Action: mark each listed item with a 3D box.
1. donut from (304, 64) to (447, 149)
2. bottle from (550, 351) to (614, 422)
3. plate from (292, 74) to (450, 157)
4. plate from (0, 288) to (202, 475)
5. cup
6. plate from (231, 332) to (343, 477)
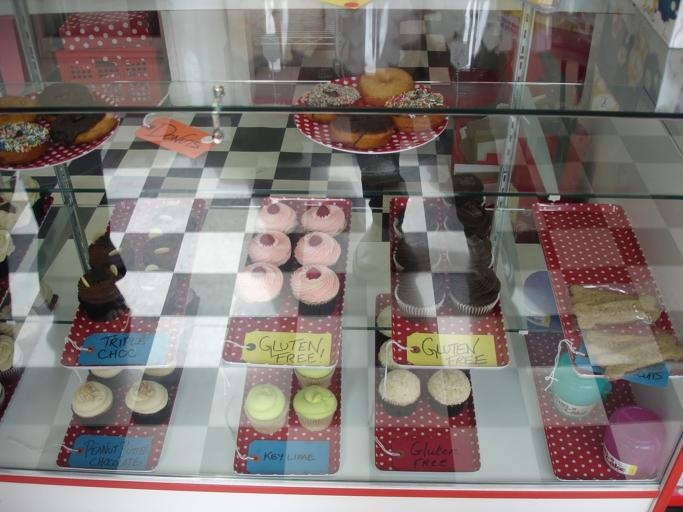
[{"bbox_3d":[0.105,-0.413,1.428,0.307,0.106,0.303,-10,44,-8],"label":"donut"},{"bbox_3d":[0.754,0.457,1.669,0.233,0.228,0.182,-4,63,3],"label":"bottle"},{"bbox_3d":[0.073,-0.387,1.458,0.298,0.032,0.294,-9,44,-10],"label":"plate"},{"bbox_3d":[-0.754,0.342,1.503,0.432,0.114,0.577,5,70,5],"label":"plate"},{"bbox_3d":[0.887,0.570,1.531,0.178,0.180,0.187,-5,38,4],"label":"cup"},{"bbox_3d":[-0.179,0.510,1.594,0.348,0.249,0.321,0,36,2],"label":"plate"}]
